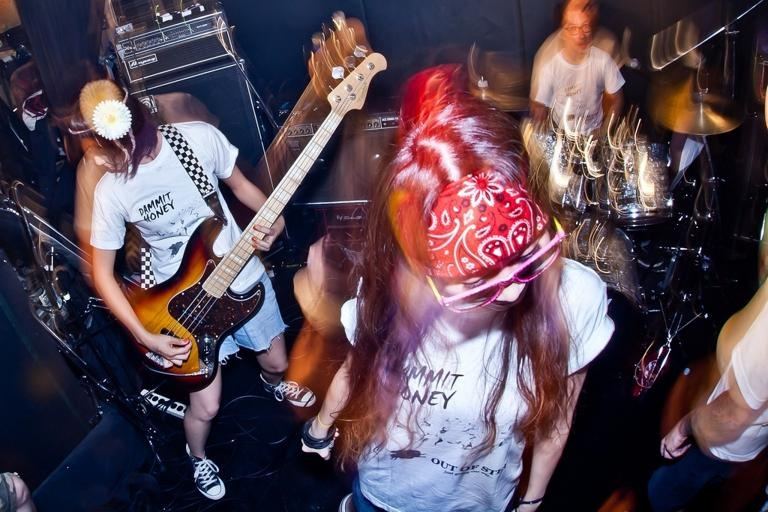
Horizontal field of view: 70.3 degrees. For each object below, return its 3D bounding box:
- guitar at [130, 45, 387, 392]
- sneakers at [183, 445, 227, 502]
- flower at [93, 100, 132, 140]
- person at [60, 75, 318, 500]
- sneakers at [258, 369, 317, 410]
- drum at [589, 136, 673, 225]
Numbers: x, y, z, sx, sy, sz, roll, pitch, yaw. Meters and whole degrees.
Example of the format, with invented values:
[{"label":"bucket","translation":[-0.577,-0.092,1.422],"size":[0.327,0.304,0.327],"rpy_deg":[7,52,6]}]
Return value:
[{"label":"guitar","translation":[-0.767,-0.518,3.998],"size":[0.972,3.148,0.387],"rpy_deg":[33,0,6]},{"label":"sneakers","translation":[-1.437,1.671,4.381],"size":[0.201,0.203,0.521],"rpy_deg":[-20,29,-22]},{"label":"flower","translation":[-1.749,-0.882,3.517],"size":[0.218,0.255,0.081],"rpy_deg":[1,-4,-12]},{"label":"person","translation":[-1.363,0.304,4.015],"size":[0.552,3.126,1.537],"rpy_deg":[-11,21,15]},{"label":"sneakers","translation":[-0.820,1.178,4.811],"size":[0.520,0.198,0.254],"rpy_deg":[17,63,27]},{"label":"drum","translation":[2.265,-0.640,4.894],"size":[0.617,0.818,0.682],"rpy_deg":[0,-8,38]}]
